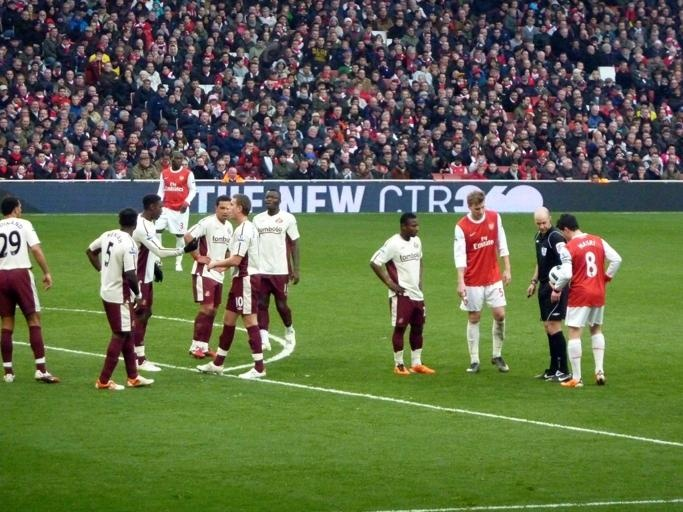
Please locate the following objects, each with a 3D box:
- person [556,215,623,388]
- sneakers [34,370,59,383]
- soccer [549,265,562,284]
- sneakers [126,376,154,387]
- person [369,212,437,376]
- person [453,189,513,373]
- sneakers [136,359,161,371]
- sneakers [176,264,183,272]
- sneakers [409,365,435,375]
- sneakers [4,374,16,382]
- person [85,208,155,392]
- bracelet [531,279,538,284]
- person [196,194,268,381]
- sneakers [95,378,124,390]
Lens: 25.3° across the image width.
[{"bbox_3d":[4.573,0.859,28.475,1.150,3.199,0.641,-1,6,1],"label":"person"},{"bbox_3d":[-5.365,2.239,27.955,0.519,0.253,0.185,10,8,-20],"label":"sneakers"},{"bbox_3d":[4.028,0.368,28.349,0.216,0.348,0.329,-1,6,4],"label":"soccer"},{"bbox_3d":[-3.685,2.334,27.890,0.408,0.189,0.204,-2,8,-4],"label":"sneakers"},{"bbox_3d":[1.264,0.746,29.022,0.941,3.064,0.817,2,7,29],"label":"person"},{"bbox_3d":[2.734,0.529,29.108,1.065,3.472,0.600,-2,6,-8],"label":"person"},{"bbox_3d":[-3.657,2.096,28.714,0.502,0.209,0.170,2,3,-6],"label":"sneakers"},{"bbox_3d":[-3.840,0.310,36.039,0.166,0.108,0.188,16,7,-26],"label":"sneakers"},{"bbox_3d":[1.573,2.207,29.123,0.381,0.140,0.188,1,3,5],"label":"sneakers"},{"bbox_3d":[-6.104,2.270,27.881,0.129,0.111,0.301,0,-3,-20],"label":"sneakers"},{"bbox_3d":[-4.050,0.803,27.832,1.013,3.289,0.960,-2,6,-8],"label":"person"},{"bbox_3d":[3.703,0.512,28.943,0.089,0.066,0.120,6,42,11],"label":"bracelet"},{"bbox_3d":[-1.973,0.601,28.594,1.134,3.423,0.742,-3,6,-17],"label":"person"},{"bbox_3d":[-4.225,2.367,27.720,0.537,0.194,0.203,2,6,-8],"label":"sneakers"}]
